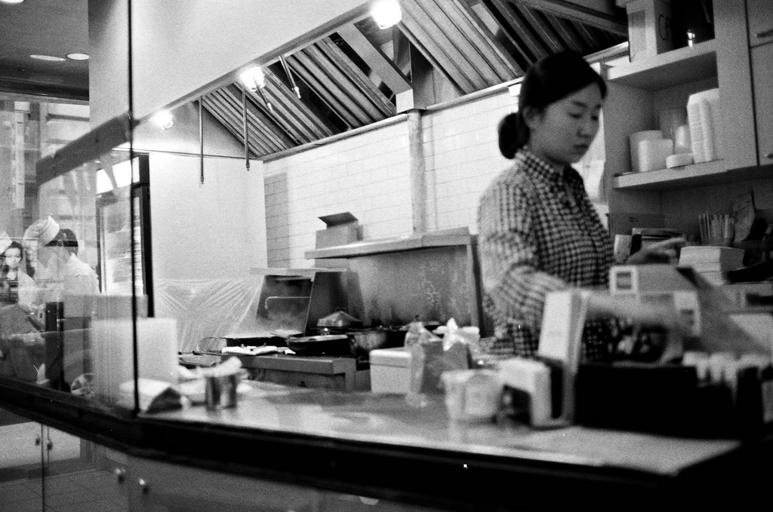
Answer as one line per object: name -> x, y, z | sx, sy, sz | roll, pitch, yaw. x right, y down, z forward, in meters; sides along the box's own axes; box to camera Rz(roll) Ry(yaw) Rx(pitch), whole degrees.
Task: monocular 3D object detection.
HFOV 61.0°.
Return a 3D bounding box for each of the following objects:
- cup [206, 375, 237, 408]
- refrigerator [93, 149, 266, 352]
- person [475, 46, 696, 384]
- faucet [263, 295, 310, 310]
cup -> -0.575, 0.487, 2.333 | 0.085, 0.120, 0.134 | -13, -15, 29
refrigerator -> -2.463, 0.231, 8.833 | 1.688, 2.369, 1.528 | 1, -7, -21
person -> 0.516, -0.133, 1.771 | 0.290, 0.829, 0.535 | -17, 13, -40
faucet -> -0.905, 0.412, 6.181 | 0.441, 0.118, 0.209 | -4, 10, 14
